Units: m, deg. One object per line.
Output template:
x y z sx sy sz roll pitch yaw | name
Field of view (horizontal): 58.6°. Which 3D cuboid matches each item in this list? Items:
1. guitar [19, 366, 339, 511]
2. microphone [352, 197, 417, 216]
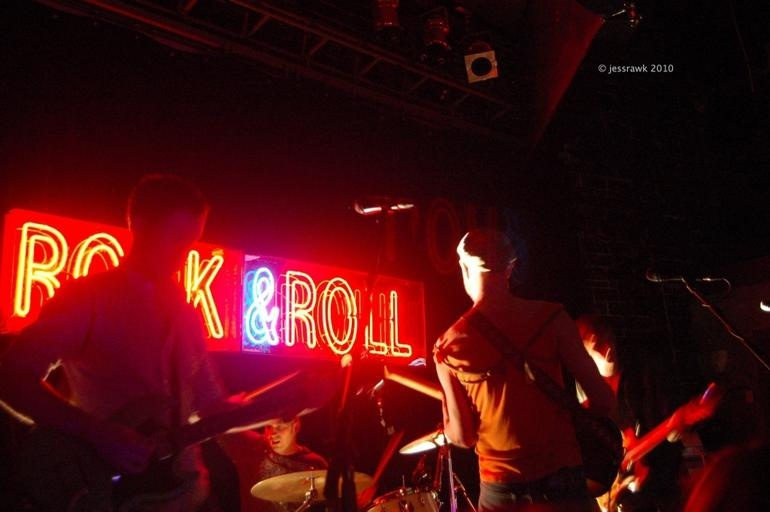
-1.264 1.125 4.191 1.499 0.613 0.162 -15 6 -15 | guitar
-0.004 -0.366 5.042 0.415 0.153 0.236 0 -15 -3 | microphone
